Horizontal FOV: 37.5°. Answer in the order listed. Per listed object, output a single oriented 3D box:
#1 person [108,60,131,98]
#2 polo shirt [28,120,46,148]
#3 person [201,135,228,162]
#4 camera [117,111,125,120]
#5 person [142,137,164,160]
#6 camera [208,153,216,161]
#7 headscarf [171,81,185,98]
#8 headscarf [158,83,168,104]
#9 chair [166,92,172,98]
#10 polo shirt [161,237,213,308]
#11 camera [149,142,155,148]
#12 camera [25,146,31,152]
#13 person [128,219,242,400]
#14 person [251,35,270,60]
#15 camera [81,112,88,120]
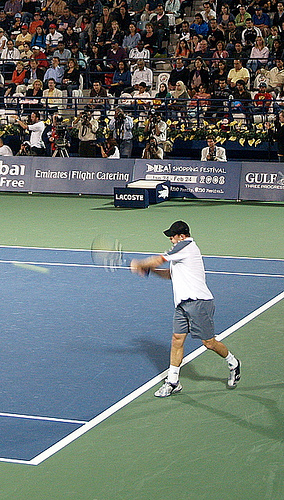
[{"bbox_3d":[-1.134,-9.089,22.414,0.987,1.859,0.667,1,4,-4],"label":"person"},{"bbox_3d":[-4.988,-5.521,19.948,0.734,1.327,0.740,0,4,-15],"label":"polo shirt"},{"bbox_3d":[2.898,-4.111,17.111,0.952,1.141,1.024,2,4,7],"label":"person"},{"bbox_3d":[-0.980,-6.054,18.897,0.261,0.263,0.206,8,-14,-32],"label":"camera"},{"bbox_3d":[0.473,-4.405,18.108,0.848,1.083,0.957,1,4,-5],"label":"person"},{"bbox_3d":[2.870,-3.765,17.030,0.067,0.278,0.199,0,12,-41],"label":"camera"},{"bbox_3d":[1.833,-7.947,20.835,0.471,0.806,0.571,-6,6,-38],"label":"headscarf"},{"bbox_3d":[1.033,-7.878,21.038,0.591,0.812,0.292,-1,35,-2],"label":"headscarf"},{"bbox_3d":[1.337,-7.855,21.193,0.272,0.302,0.198,1,4,4],"label":"chair"},{"bbox_3d":[0.429,0.205,4.165,0.460,0.615,0.483,-1,-2,25],"label":"polo shirt"},{"bbox_3d":[0.409,-4.521,18.069,0.153,0.222,0.215,1,12,8],"label":"camera"},{"bbox_3d":[-5.320,-4.733,19.592,0.162,0.260,0.418,2,4,8],"label":"camera"},{"bbox_3d":[0.415,0.583,4.127,1.228,1.716,0.448,-1,4,-31],"label":"person"},{"bbox_3d":[6.089,-10.307,21.461,0.893,1.112,0.479,1,4,-8],"label":"person"},{"bbox_3d":[-2.596,-6.012,18.840,0.256,0.435,0.563,0,4,-15],"label":"camera"}]
